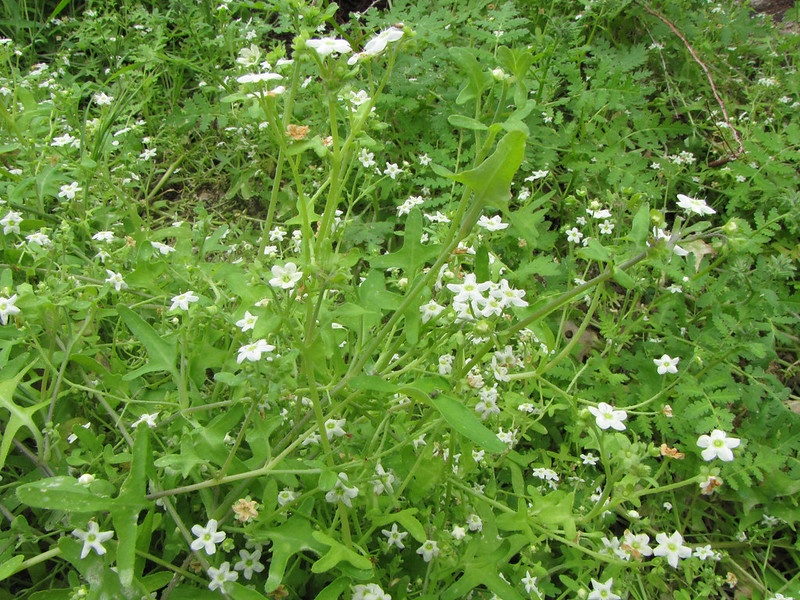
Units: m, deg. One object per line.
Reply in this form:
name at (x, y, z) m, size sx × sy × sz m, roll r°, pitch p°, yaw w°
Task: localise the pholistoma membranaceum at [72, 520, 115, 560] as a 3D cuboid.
pholistoma membranaceum at (-1.186, 0.922, 2.635) m, size 0.148 × 0.123 × 0.116 m, roll 1°, pitch 54°, yaw -4°
